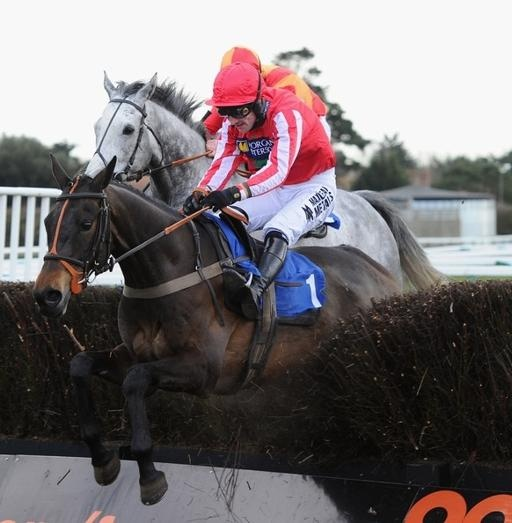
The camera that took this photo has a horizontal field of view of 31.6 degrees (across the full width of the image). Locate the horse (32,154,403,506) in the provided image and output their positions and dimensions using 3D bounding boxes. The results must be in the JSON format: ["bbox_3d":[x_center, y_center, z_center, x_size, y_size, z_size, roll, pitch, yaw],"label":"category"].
[{"bbox_3d":[-0.094,0.416,4.681,0.679,1.465,2.790,8,1,37],"label":"horse"}]

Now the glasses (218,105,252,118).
[{"bbox_3d":[-0.106,-0.730,4.445,0.093,0.080,0.028,-1,27,18],"label":"glasses"}]

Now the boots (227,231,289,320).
[{"bbox_3d":[0.018,0.074,4.334,0.276,0.168,0.409,26,38,5],"label":"boots"}]

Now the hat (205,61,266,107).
[{"bbox_3d":[-0.107,-0.854,4.420,0.258,0.209,0.123,-2,6,-2],"label":"hat"}]

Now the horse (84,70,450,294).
[{"bbox_3d":[0.075,-0.176,6.338,3.205,1.650,0.576,10,0,-27],"label":"horse"}]
